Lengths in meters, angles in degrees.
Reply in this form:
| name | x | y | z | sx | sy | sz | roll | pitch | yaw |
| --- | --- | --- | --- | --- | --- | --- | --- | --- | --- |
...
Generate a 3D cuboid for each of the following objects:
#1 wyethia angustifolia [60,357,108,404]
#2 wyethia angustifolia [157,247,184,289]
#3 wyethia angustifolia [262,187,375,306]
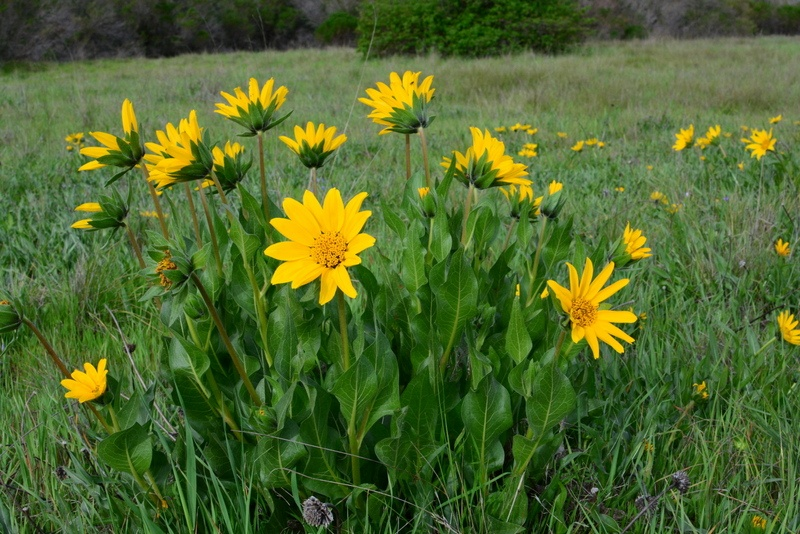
| name | x | y | z | sx | sy | sz | roll | pitch | yaw |
| --- | --- | --- | --- | --- | --- | --- | --- | --- | --- |
| wyethia angustifolia | -1.158 | 0.437 | 2.338 | 0.142 | 0.202 | 0.130 | -2 | 17 | 1 |
| wyethia angustifolia | -0.823 | 0.010 | 2.221 | 0.108 | 0.132 | 0.070 | 12 | 13 | 15 |
| wyethia angustifolia | -0.268 | -0.090 | 2.135 | 0.333 | 0.417 | 0.098 | -18 | -12 | 9 |
